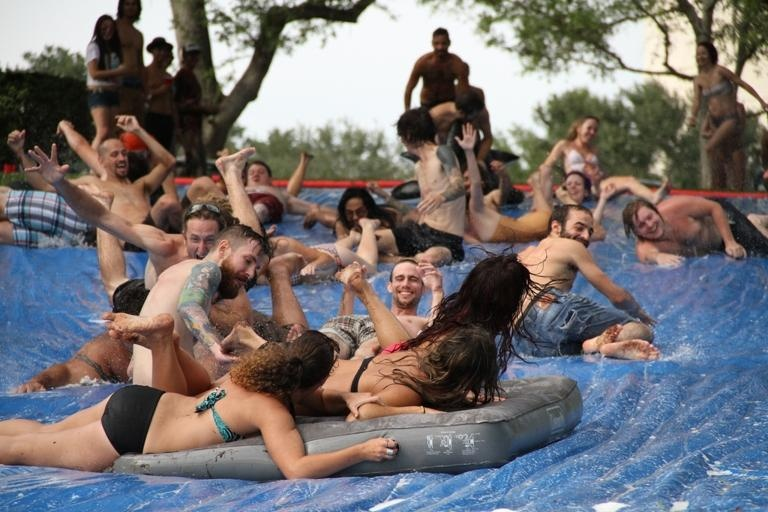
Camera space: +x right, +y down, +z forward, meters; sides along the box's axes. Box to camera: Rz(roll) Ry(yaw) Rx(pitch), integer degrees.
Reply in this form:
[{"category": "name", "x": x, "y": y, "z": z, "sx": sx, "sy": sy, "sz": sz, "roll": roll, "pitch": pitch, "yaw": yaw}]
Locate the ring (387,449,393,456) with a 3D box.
[{"category": "ring", "x": 0.054, "y": 1.544, "z": 7.815, "sx": 0.053, "sy": 0.054, "sz": 0.039, "roll": 3, "pitch": 40, "yaw": 3}]
